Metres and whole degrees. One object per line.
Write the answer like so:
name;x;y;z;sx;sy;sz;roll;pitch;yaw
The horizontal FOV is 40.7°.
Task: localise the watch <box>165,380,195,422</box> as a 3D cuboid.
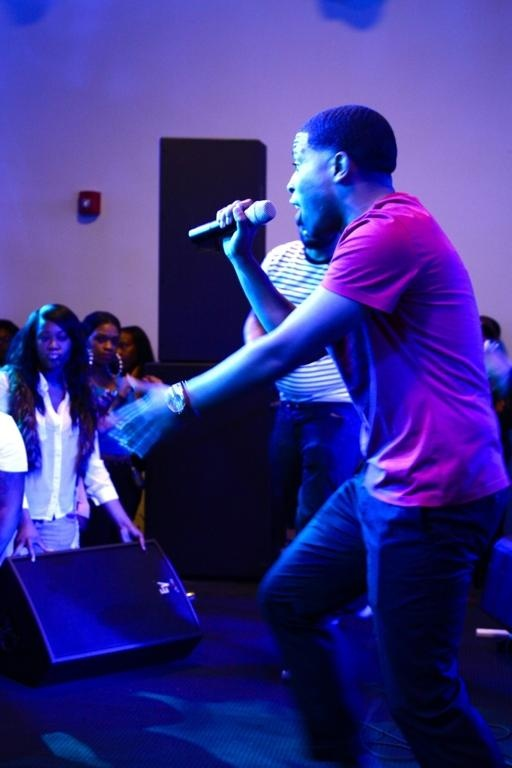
watch;-0.094;0.021;0.840;0.030;0.046;0.011;-16;-14;23
